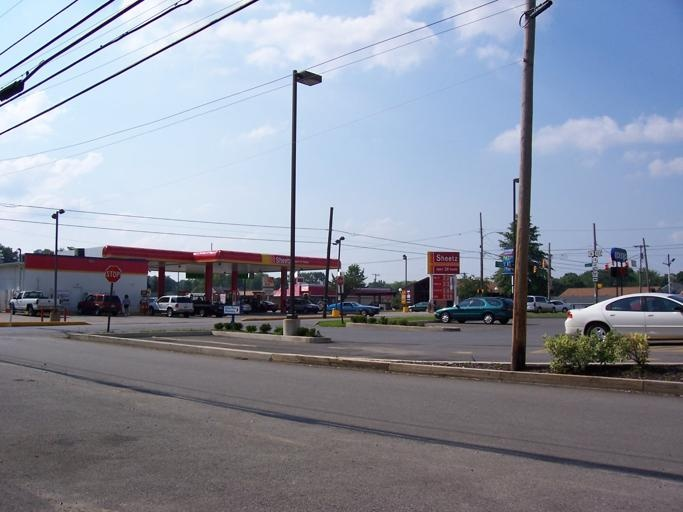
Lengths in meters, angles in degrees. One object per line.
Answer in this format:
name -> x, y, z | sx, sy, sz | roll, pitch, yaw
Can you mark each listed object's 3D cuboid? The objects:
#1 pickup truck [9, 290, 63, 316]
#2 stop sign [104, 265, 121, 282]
pickup truck -> -22.482, 3.558, 46.856 | 1.801, 1.459, 3.784 | 6, -5, -43
stop sign -> -9.399, 0.756, 26.166 | 0.419, 0.705, 0.675 | -1, -1, -12
